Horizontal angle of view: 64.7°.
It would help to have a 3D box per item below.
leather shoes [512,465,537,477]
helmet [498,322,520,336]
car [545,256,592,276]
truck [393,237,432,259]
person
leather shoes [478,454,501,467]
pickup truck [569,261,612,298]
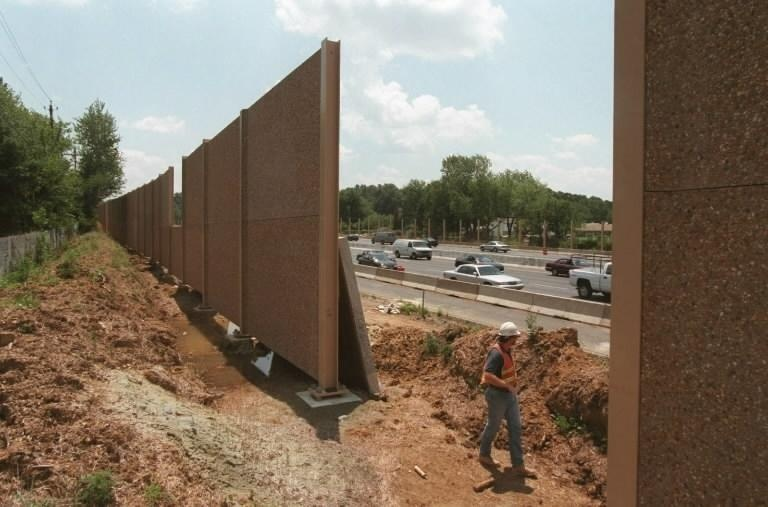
[{"bbox_3d":[2.133,3.300,9.340,0.390,0.181,0.162,0,5,1],"label":"leather shoes"},{"bbox_3d":[1.913,1.166,9.287,0.255,0.193,0.232,11,10,30],"label":"helmet"},{"bbox_3d":[11.728,1.050,37.704,2.696,1.119,1.376,-5,6,-1],"label":"car"},{"bbox_3d":[2.530,-0.446,52.254,1.484,1.218,3.187,-1,0,-28],"label":"truck"},{"bbox_3d":[1.943,2.168,9.640,0.800,2.261,1.150,7,8,12],"label":"person"},{"bbox_3d":[1.636,3.206,9.482,0.288,0.142,0.145,4,5,23],"label":"leather shoes"},{"bbox_3d":[9.116,1.184,26.895,1.446,1.338,2.728,-1,-1,-37],"label":"pickup truck"}]
